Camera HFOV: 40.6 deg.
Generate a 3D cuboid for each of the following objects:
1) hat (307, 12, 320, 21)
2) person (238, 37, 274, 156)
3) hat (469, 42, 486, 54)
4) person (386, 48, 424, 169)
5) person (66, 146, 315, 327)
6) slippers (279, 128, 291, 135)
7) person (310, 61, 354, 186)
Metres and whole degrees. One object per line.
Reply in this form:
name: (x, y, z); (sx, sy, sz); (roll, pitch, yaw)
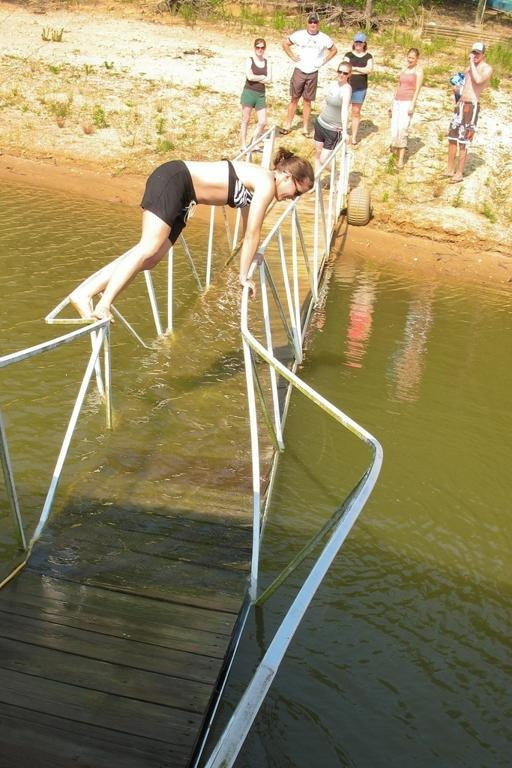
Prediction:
hat: (0.784, -5.091, 9.583); (0.139, 0.108, 0.214); (7, 6, 6)
person: (-0.014, -4.152, 9.911); (0.393, 1.441, 0.809); (8, 23, -3)
hat: (2.695, -4.071, 8.372); (0.105, 0.121, 0.252); (18, 24, 22)
person: (2.172, -4.036, 10.198); (0.370, 1.580, 1.382); (12, 23, 7)
person: (-0.378, -0.926, 3.863); (0.805, 0.816, 1.540); (24, 26, 33)
slippers: (0.469, -4.093, 11.146); (0.057, 0.082, 0.206); (-25, 11, -21)
person: (0.938, -3.232, 8.322); (0.354, 1.279, 0.749); (7, 23, -5)
